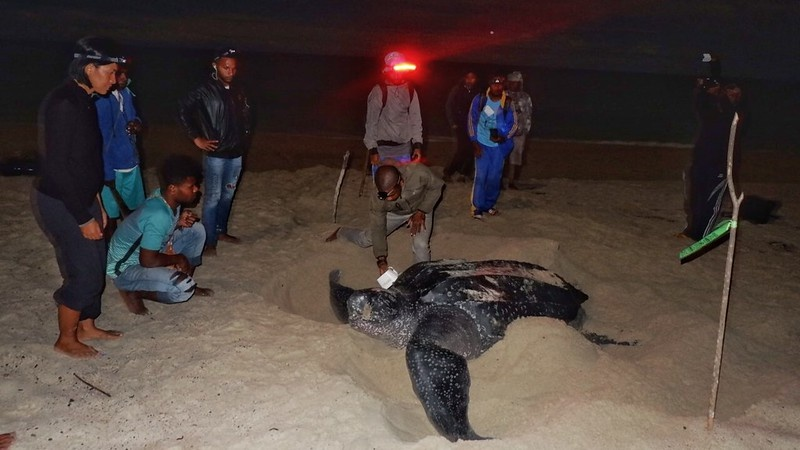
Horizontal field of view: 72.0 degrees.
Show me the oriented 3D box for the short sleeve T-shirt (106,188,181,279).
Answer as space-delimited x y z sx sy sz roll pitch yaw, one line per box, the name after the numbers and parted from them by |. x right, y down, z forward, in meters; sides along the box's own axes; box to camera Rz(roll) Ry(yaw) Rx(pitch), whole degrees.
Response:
-3.293 0.140 7.093 0.590 0.889 0.947 27 19 -13 | short sleeve T-shirt

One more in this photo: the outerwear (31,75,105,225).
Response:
-3.890 -0.859 6.387 0.683 1.631 0.586 0 17 -18 | outerwear

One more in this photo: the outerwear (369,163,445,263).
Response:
0.058 -0.200 7.744 1.123 0.861 1.529 5 48 23 | outerwear

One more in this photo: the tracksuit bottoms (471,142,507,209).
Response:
1.566 -0.877 9.620 0.544 1.352 0.420 -3 12 -10 | tracksuit bottoms

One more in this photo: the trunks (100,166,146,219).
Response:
-3.789 -0.443 7.467 0.405 0.707 0.557 47 39 18 | trunks

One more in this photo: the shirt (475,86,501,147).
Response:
1.501 -1.764 9.318 0.531 0.728 0.809 7 25 10 | shirt
